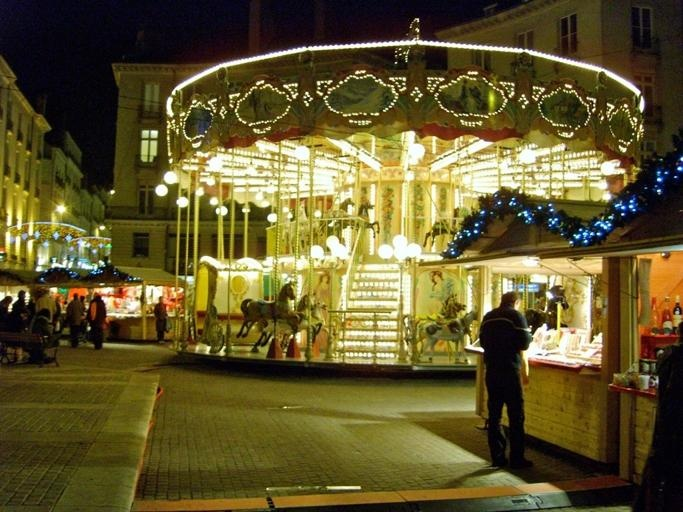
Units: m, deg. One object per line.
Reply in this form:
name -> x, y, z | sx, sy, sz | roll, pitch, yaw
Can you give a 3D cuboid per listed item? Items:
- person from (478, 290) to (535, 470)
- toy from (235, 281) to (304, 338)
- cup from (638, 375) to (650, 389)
person -> 2.278, 1.650, 9.185 | 0.545, 1.926, 0.751 | 5, -1, -11
toy -> -1.892, 1.355, 17.066 | 0.823, 1.346, 1.767 | 6, -2, -43
cup -> 3.680, 1.530, 8.122 | 0.149, 0.167, 0.150 | 0, -5, 0
